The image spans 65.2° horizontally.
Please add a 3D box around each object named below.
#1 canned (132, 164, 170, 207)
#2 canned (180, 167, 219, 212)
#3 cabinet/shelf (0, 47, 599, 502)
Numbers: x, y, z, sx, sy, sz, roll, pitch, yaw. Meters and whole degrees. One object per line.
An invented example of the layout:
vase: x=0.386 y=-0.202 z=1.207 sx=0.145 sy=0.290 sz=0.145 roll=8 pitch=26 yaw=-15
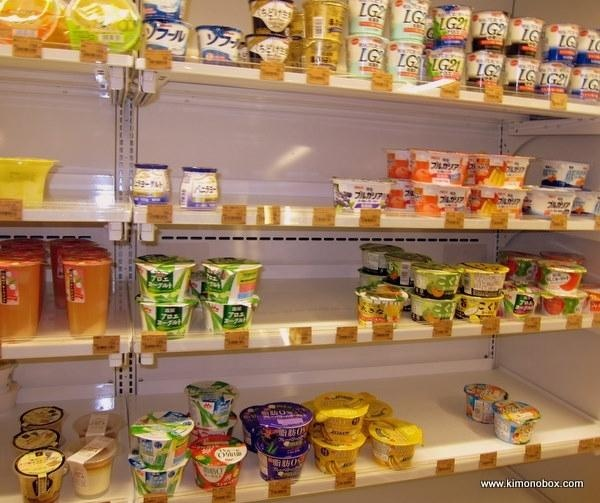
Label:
canned: x=-0.530 y=-0.253 z=1.783 sx=0.166 sy=0.147 sz=0.152 roll=2 pitch=6 yaw=1
canned: x=-0.374 y=-0.238 z=1.761 sx=0.131 sy=0.152 sz=0.125 roll=8 pitch=15 yaw=14
cabinet/shelf: x=-0.025 y=0.078 z=2.075 sx=2.997 sy=1.437 sz=0.890 roll=-1 pitch=3 yaw=-17
